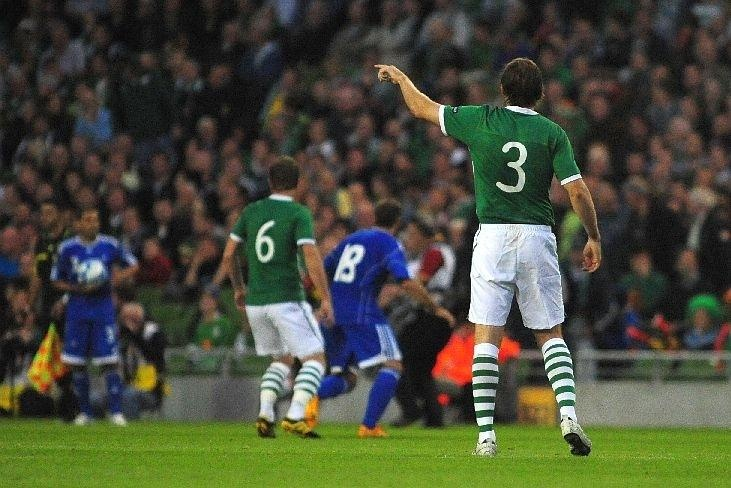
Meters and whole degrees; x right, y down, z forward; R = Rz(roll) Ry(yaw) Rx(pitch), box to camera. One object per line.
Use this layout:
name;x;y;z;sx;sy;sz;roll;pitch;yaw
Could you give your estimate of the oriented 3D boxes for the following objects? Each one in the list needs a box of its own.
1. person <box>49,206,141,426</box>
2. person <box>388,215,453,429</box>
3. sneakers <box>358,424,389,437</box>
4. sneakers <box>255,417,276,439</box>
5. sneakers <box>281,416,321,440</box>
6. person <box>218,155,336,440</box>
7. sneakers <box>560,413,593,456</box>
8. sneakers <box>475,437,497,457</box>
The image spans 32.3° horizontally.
person;-3.765;1.009;17.314;1.079;2.943;0.645;1;-6;-16
person;0.800;1.253;18.374;1.124;3.327;1.181;3;-39;7
sneakers;0.128;2.443;16.574;0.420;0.200;0.149;3;-1;-16
sneakers;-1.263;2.306;15.895;0.193;0.262;0.268;1;3;2
sneakers;-0.781;2.272;15.646;0.545;0.266;0.201;18;-22;-31
person;-1.058;0.662;15.732;1.284;3.478;0.656;-1;-6;3
sneakers;2.387;2.173;14.311;0.232;0.304;0.606;-16;-39;20
sneakers;1.357;2.295;14.282;0.252;0.200;0.170;-2;-6;5
